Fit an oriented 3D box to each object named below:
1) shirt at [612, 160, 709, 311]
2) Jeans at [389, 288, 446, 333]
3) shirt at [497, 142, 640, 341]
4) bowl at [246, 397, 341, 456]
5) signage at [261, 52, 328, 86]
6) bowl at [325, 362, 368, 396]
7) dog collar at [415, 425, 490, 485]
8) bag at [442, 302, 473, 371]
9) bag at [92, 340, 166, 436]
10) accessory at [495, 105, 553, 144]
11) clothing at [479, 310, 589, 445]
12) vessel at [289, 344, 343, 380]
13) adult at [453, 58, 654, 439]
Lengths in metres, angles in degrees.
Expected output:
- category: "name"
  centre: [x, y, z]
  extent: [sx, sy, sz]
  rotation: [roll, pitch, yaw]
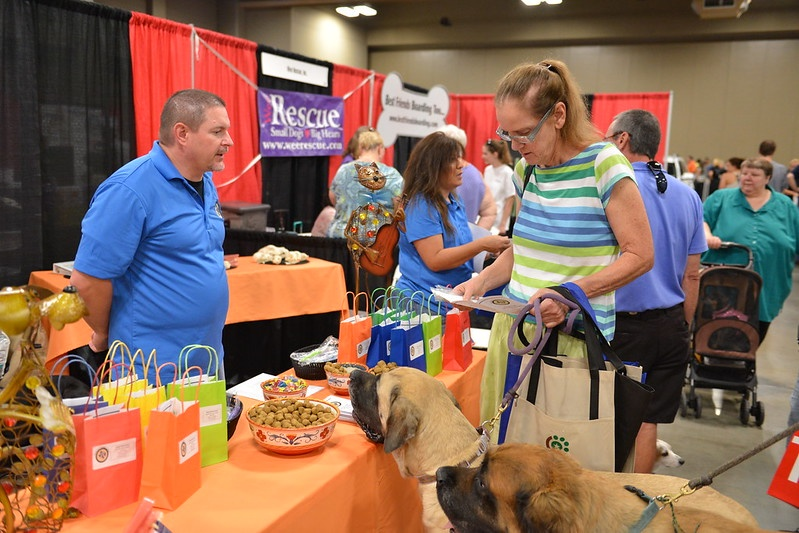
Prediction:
- category: "shirt"
  centre: [1.625, -0.243, 4.002]
  extent: [0.945, 0.860, 0.471]
  rotation: [3, -3, -27]
- category: "Jeans"
  centre: [0.117, 0.266, 3.642]
  extent: [0.277, 0.298, 0.104]
  rotation: [0, -4, 3]
- category: "shirt"
  centre: [0.879, -0.210, 3.254]
  extent: [0.499, 0.944, 0.935]
  rotation: [-3, 9, -27]
- category: "bowl"
  centre: [-0.489, 0.714, 2.747]
  extent: [0.274, 0.130, 0.282]
  rotation: [0, 0, 0]
- category: "signage"
  centre: [-1.464, -2.827, 8.570]
  extent: [1.354, 0.349, 0.051]
  rotation: [21, 26, 28]
- category: "bowl"
  centre: [-0.316, 0.581, 3.278]
  extent: [0.212, 0.137, 0.220]
  rotation: [1, -6, 0]
- category: "dog collar"
  centre: [0.213, 0.791, 2.640]
  extent: [0.293, 0.167, 0.223]
  rotation: [-39, 6, 7]
- category: "bag"
  centre: [0.344, 0.423, 3.580]
  extent: [0.151, 0.460, 0.410]
  rotation: [1, 3, 21]
- category: "bag"
  centre: [-1.176, 0.535, 2.662]
  extent: [0.311, 0.465, 0.160]
  rotation: [-4, 12, -33]
- category: "accessory"
  centre: [0.619, -0.704, 2.979]
  extent: [0.277, 0.186, 0.089]
  rotation: [3, 9, 17]
- category: "clothing"
  centre: [0.661, 0.528, 2.889]
  extent: [0.565, 0.797, 0.304]
  rotation: [4, 18, 8]
- category: "vessel"
  centre: [-0.459, 0.538, 3.406]
  extent: [0.216, 0.083, 0.234]
  rotation: [1, 5, -1]
- category: "adult"
  centre: [0.800, 0.310, 3.190]
  extent: [0.698, 2.665, 0.975]
  rotation: [-2, 2, -37]
